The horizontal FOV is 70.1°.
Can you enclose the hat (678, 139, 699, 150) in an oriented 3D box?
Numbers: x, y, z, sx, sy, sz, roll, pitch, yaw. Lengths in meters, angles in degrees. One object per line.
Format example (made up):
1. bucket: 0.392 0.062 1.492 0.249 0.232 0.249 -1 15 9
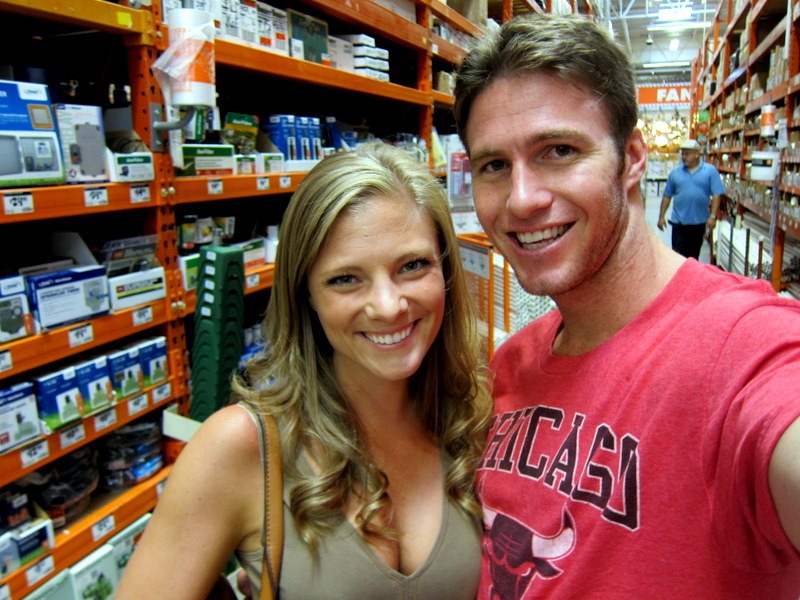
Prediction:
1. hat: 4.430 -2.366 8.720 0.313 0.188 0.476 2 14 36
